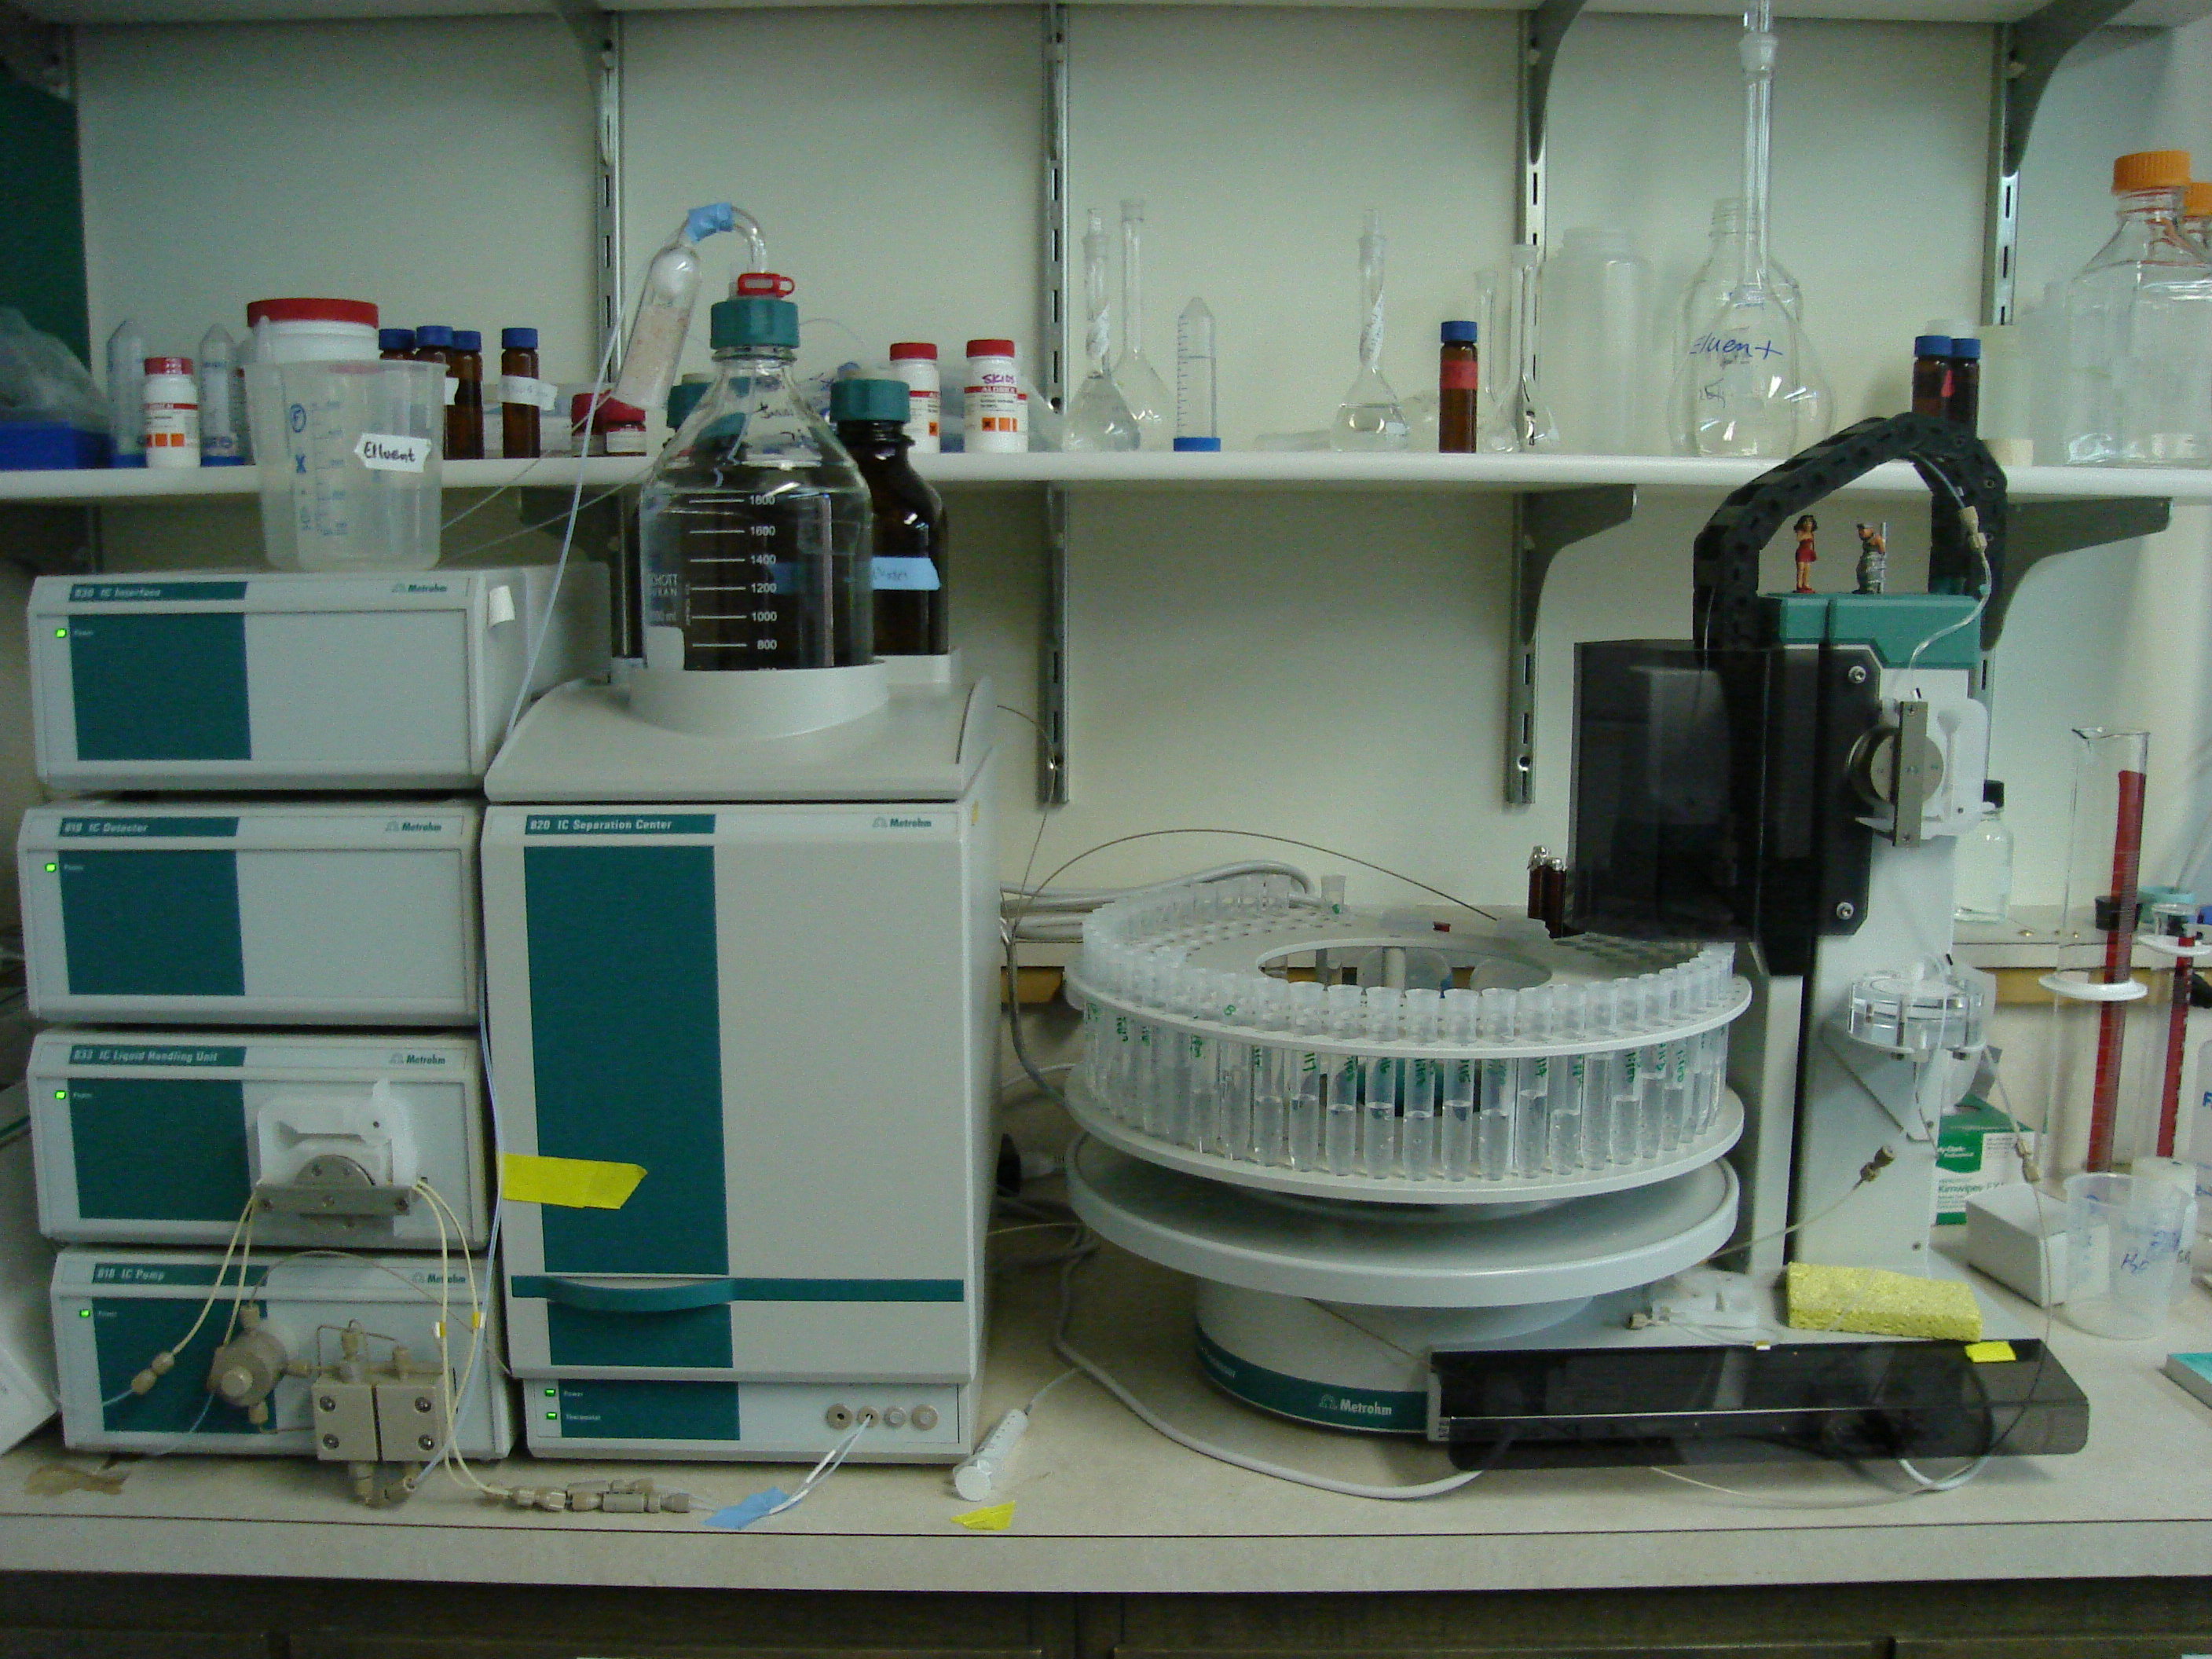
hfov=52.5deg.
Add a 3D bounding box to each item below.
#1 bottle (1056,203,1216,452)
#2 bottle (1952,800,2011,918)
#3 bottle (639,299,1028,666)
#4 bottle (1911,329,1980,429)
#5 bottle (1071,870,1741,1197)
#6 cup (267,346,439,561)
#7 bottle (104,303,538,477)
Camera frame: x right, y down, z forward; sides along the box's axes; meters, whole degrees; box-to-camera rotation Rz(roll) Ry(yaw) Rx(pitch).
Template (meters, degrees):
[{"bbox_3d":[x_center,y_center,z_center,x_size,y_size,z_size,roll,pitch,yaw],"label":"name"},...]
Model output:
[{"bbox_3d":[0.035,-0.576,2.538,0.175,0.296,0.320,-1,9,3],"label":"bottle"},{"bbox_3d":[1.072,0.041,2.746,0.129,0.126,0.049,-7,10,-30],"label":"bottle"},{"bbox_3d":[-0.304,-0.345,2.195,0.239,0.372,0.337,0,9,10],"label":"bottle"},{"bbox_3d":[0.946,-0.509,2.524,0.092,0.094,0.072,-2,9,-3],"label":"bottle"},{"bbox_3d":[0.289,0.205,2.197,0.643,0.249,0.407,1,10,15],"label":"bottle"},{"bbox_3d":[-0.741,-0.363,2.193,0.195,0.213,0.171,1,3,-8],"label":"cup"},{"bbox_3d":[-0.877,-0.477,2.386,0.553,0.243,0.187,3,8,11],"label":"bottle"}]
